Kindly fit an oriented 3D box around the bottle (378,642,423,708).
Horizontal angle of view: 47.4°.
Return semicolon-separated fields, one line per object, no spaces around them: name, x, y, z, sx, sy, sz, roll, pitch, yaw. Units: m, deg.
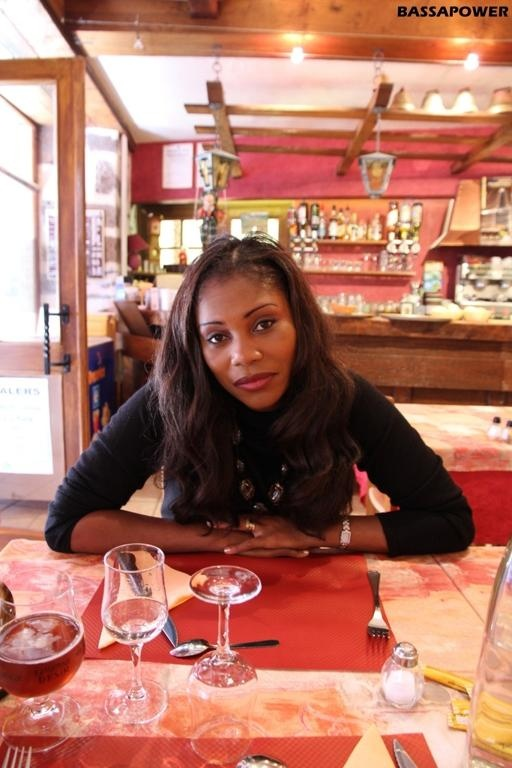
bottle;0.177;0.336;0.705;0.057;0.080;0.057;4;2;0

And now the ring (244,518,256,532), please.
ring;-0.013;0.281;1.167;0.018;0.016;0.018;14;16;-4

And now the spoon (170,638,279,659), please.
spoon;-0.040;0.335;0.739;0.129;0.017;0.026;-4;16;-3

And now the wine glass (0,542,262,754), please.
wine glass;-0.119;0.276;0.634;0.164;0.058;0.250;6;7;-3
